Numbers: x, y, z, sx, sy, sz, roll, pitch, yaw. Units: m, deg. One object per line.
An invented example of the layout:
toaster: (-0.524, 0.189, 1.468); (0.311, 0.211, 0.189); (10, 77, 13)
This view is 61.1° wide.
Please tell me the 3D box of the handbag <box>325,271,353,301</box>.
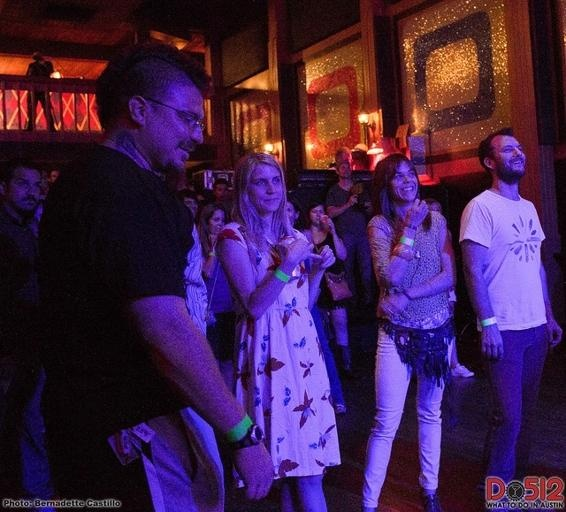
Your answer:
handbag: (0.549, 0.327, 4.843); (0.223, 0.303, 0.107); (-11, -7, -29)
